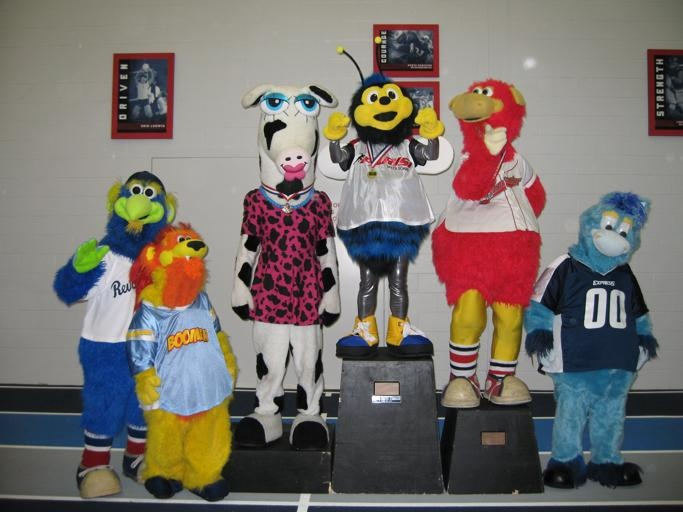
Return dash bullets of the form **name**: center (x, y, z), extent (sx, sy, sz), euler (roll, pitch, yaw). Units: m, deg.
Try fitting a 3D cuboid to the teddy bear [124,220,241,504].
- **teddy bear**: center (-0.842, 0.559, 4.049), extent (0.564, 1.400, 0.468), euler (-3, 14, -10)
